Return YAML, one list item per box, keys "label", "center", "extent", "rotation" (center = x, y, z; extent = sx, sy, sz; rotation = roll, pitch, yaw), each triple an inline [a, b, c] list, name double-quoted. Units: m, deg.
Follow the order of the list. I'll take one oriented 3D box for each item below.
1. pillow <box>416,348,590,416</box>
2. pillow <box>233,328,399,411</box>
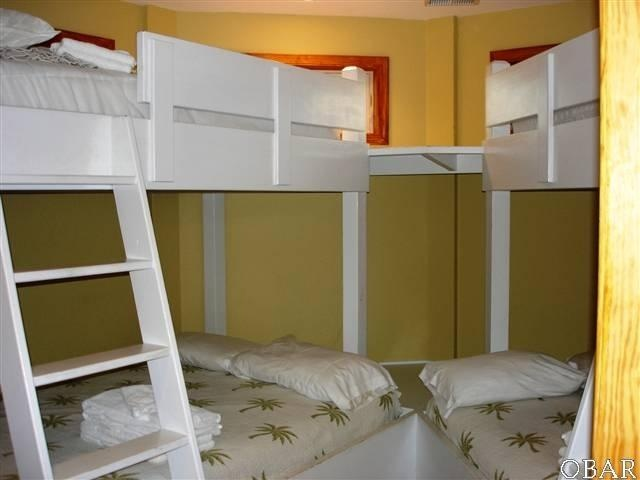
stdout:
- label: "pillow"
  center: [0.980, 0.710, 2.613]
  extent: [0.573, 0.377, 0.156]
  rotation: [-3, -78, -12]
- label: "pillow"
  center: [-0.090, 0.731, 2.818]
  extent: [0.634, 0.399, 0.139]
  rotation: [4, -86, 39]
